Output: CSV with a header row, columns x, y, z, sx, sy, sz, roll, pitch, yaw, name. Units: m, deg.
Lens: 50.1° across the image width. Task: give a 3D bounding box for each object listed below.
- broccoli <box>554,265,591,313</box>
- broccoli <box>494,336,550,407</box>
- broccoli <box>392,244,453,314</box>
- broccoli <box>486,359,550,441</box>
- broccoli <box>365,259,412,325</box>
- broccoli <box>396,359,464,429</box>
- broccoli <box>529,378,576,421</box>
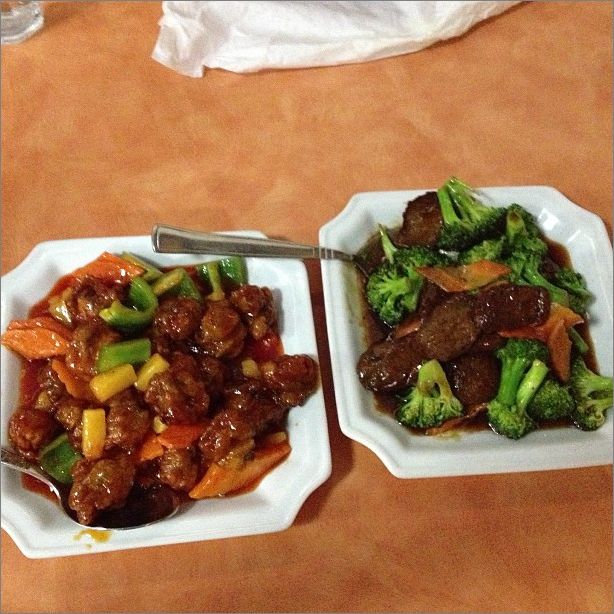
x,y,z,sx,sy,sz,roll,pitch,yaw,name
1.054,-0.072,2.638,0.159,0.065,0.173,-10,72,-8,broccoli
0.757,0.230,2.398,0.206,0.125,0.229,12,93,3,broccoli
0.368,-0.100,2.580,0.315,0.253,0.238,3,85,-24,broccoli
0.766,0.351,2.450,0.212,0.159,0.306,35,85,15,broccoli
0.299,-0.041,2.425,0.232,0.073,0.202,-4,93,12,broccoli
0.452,0.327,2.407,0.276,0.100,0.232,-1,78,1,broccoli
0.890,0.347,2.376,0.168,0.083,0.145,-1,102,4,broccoli
